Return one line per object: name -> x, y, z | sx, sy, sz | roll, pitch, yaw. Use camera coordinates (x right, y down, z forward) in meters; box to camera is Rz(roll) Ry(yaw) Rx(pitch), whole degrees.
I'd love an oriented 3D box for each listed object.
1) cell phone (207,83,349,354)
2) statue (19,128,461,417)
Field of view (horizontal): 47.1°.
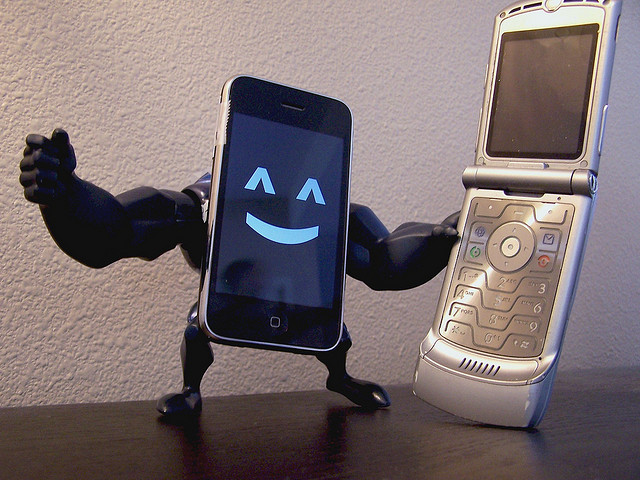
cell phone -> -0.026, -0.020, 0.616 | 0.106, 0.192, 0.157 | 6, 29, 2
statue -> -0.047, 0.039, 0.657 | 0.441, 0.234, 0.100 | 4, -3, -33
